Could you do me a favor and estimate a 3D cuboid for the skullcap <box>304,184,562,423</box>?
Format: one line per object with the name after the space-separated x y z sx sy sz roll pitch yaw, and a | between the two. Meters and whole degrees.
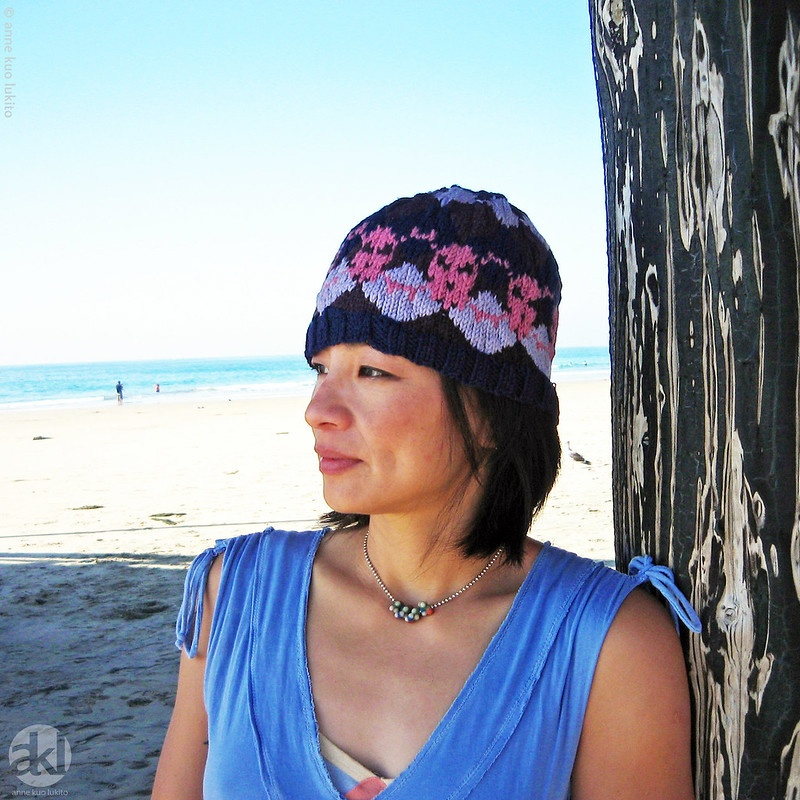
0.087 -0.129 2.367 0.473 0.529 0.532 3 -3 -15 | skullcap
